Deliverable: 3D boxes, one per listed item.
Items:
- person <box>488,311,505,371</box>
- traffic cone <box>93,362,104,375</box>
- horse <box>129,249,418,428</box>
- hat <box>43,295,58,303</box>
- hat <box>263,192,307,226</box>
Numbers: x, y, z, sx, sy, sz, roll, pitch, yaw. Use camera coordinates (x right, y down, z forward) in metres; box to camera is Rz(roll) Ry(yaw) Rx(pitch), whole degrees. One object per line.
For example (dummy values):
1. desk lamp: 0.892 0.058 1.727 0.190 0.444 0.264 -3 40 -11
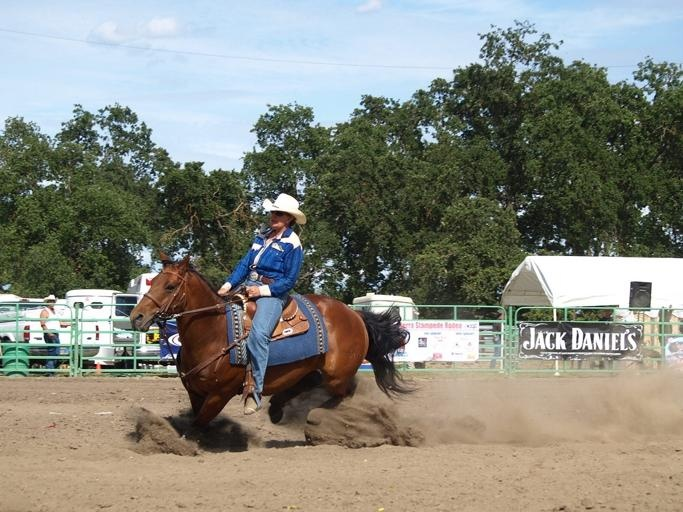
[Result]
1. person: 5.038 2.802 35.283 0.437 1.492 1.680 2 -7 7
2. traffic cone: -7.414 3.483 34.029 0.441 0.422 0.408 1 -12 -9
3. horse: -1.368 2.020 26.374 7.679 3.870 2.414 2 -1 -38
4. hat: -10.476 1.553 39.650 0.520 0.199 0.539 3 -28 -5
5. hat: -1.271 -1.164 25.048 0.856 0.301 0.725 26 -9 -34
